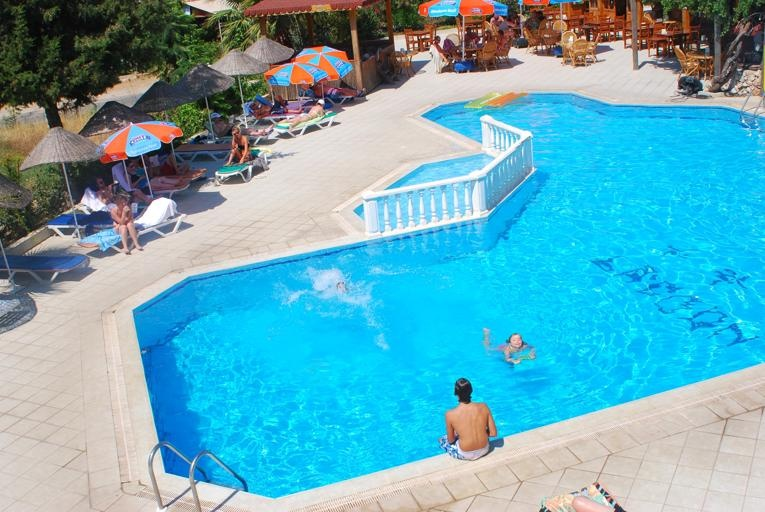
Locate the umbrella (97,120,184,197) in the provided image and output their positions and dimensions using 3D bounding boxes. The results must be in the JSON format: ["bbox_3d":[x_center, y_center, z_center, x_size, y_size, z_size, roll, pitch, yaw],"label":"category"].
[{"bbox_3d":[-6.697,-2.951,19.239,1.675,1.306,1.550,1,33,18],"label":"umbrella"}]

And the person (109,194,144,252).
[{"bbox_3d":[-6.856,-0.895,18.082,0.575,1.427,1.035,-18,30,-19],"label":"person"}]

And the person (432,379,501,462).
[{"bbox_3d":[1.458,2.758,11.338,0.834,1.244,0.616,1,30,13],"label":"person"}]

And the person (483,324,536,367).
[{"bbox_3d":[2.633,1.847,14.100,0.568,0.365,1.008,-10,12,-25],"label":"person"}]

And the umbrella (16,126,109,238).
[{"bbox_3d":[-8.703,-2.086,18.724,2.338,3.040,1.816,15,35,35],"label":"umbrella"}]

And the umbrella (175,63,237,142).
[{"bbox_3d":[-6.397,-5.984,24.866,1.946,2.270,1.790,-3,39,0],"label":"umbrella"}]

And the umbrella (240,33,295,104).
[{"bbox_3d":[-4.564,-8.289,28.833,2.160,0.959,1.914,-3,53,2],"label":"umbrella"}]

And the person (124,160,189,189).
[{"bbox_3d":[-6.887,-2.375,20.831,1.504,0.479,1.097,3,26,4],"label":"person"}]

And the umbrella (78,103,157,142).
[{"bbox_3d":[-8.019,-4.149,20.439,1.817,0.505,1.280,-12,27,-14],"label":"umbrella"}]
